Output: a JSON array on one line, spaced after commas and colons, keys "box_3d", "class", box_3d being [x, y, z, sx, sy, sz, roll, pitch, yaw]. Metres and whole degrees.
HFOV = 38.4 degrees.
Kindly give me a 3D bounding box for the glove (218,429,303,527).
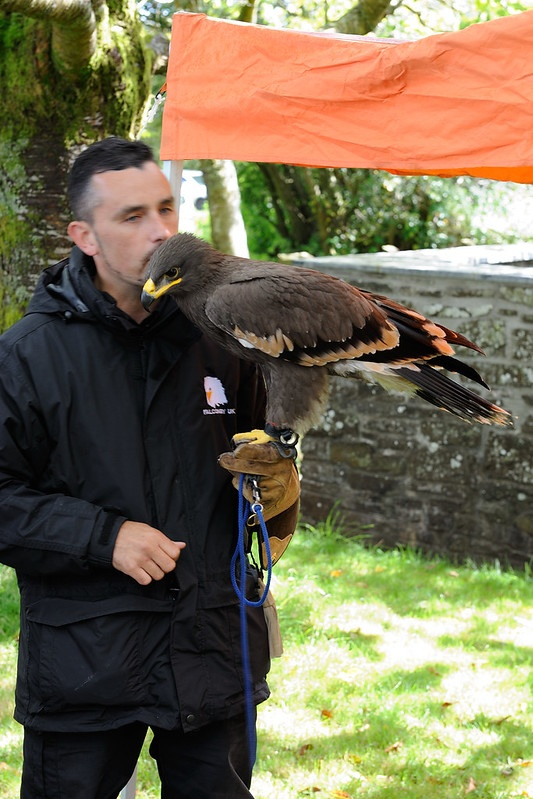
[{"box_3d": [-0.021, 0.192, 2.098, 0.265, 0.224, 0.196, -20, 24, -29], "class": "glove"}]
